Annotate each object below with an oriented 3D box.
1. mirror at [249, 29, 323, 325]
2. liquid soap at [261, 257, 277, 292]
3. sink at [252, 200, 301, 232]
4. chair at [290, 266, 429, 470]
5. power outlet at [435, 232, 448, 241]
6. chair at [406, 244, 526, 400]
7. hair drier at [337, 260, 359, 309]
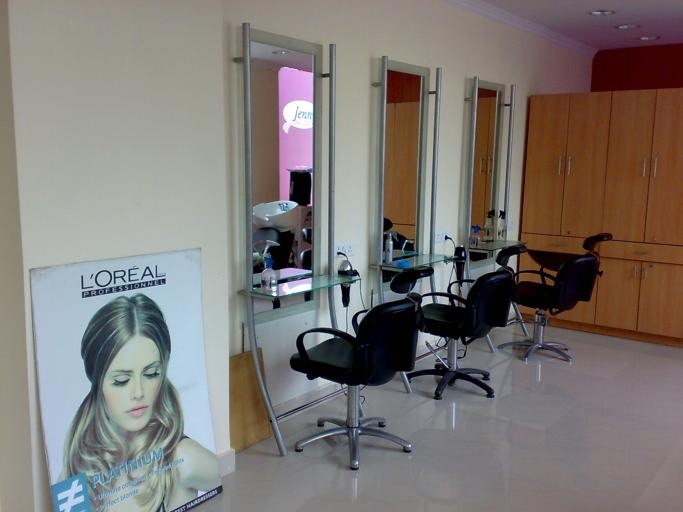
[{"bbox_3d":[-0.367,-0.658,3.817,0.151,1.618,0.702,13,18,41],"label":"mirror"},{"bbox_3d":[-0.477,0.112,3.680,0.101,0.173,0.261,-1,14,-8],"label":"liquid soap"},{"bbox_3d":[-0.447,-0.266,3.799,0.228,0.130,0.198,-16,43,-31],"label":"sink"},{"bbox_3d":[0.150,0.700,3.989,0.973,1.303,0.915,7,10,32],"label":"chair"},{"bbox_3d":[0.954,-0.180,5.329,0.030,0.110,0.203,12,18,39],"label":"power outlet"},{"bbox_3d":[0.902,0.553,4.575,0.961,1.548,0.876,7,11,31],"label":"chair"},{"bbox_3d":[0.044,0.206,4.134,0.180,0.330,0.095,-7,-8,41],"label":"hair drier"}]
